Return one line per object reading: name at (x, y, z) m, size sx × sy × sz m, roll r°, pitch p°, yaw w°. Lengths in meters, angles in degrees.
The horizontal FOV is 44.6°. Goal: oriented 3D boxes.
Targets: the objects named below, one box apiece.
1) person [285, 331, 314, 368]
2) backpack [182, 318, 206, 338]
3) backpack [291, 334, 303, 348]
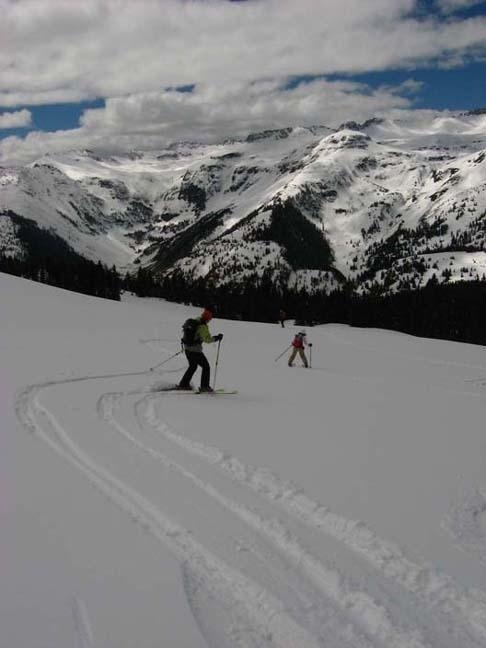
person at (2.721, 1.237, 27.957) m, size 1.105 × 1.250 × 2.261 m, roll 0°, pitch 21°, yaw 5°
backpack at (-1.385, 0.186, 16.529) m, size 0.664 × 0.631 × 0.469 m, roll 6°, pitch 11°, yaw -8°
backpack at (2.306, 0.683, 23.986) m, size 0.379 × 0.569 × 0.474 m, roll 6°, pitch 9°, yaw 4°
